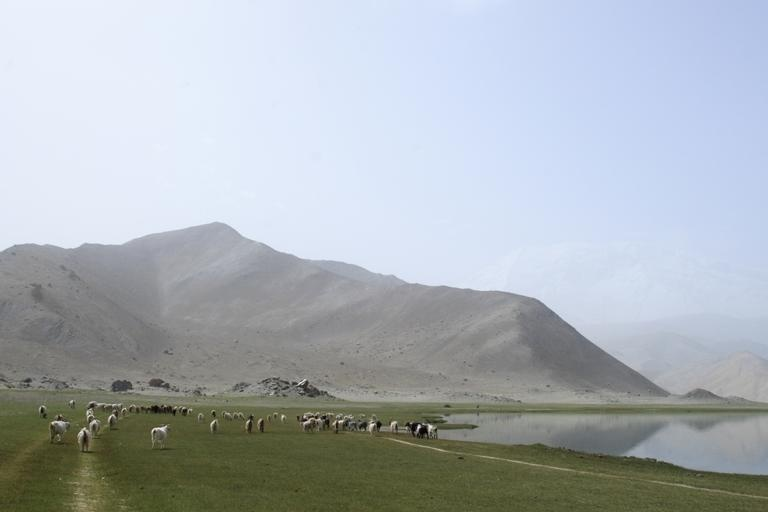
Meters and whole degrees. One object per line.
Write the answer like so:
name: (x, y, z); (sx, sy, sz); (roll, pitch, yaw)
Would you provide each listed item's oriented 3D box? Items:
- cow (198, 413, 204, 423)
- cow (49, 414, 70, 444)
cow: (-19.775, 17.321, 62.359); (0.721, 0.776, 1.447); (0, -42, -9)
cow: (-24.270, 12.982, 43.396); (0.908, 1.477, 3.220); (7, 1, -23)
